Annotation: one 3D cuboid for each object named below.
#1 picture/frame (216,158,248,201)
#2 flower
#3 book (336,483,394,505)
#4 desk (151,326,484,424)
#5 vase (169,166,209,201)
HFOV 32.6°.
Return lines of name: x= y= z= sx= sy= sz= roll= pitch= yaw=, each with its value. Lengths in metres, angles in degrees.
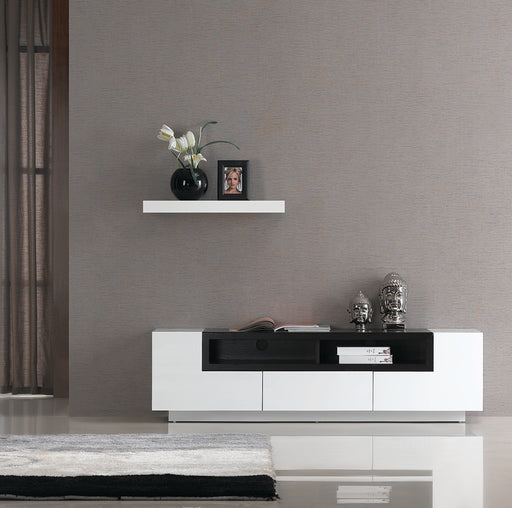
picture/frame: x=-0.131 y=-0.429 z=5.102 sx=0.227 sy=0.310 sz=0.032 roll=0 pitch=0 yaw=-1
flower: x=-0.320 y=-0.622 z=5.148 sx=0.480 sy=0.256 sz=0.416 roll=14 pitch=24 yaw=35
book: x=0.473 y=1.046 z=3.823 sx=0.237 sy=0.015 sz=0.198 roll=1 pitch=7 yaw=5
desk: x=0.340 y=0.680 z=5.002 sx=1.857 sy=0.527 sz=0.291 roll=1 pitch=7 yaw=1
vase: x=-0.390 y=-0.404 z=5.142 sx=0.233 sy=0.206 sz=0.234 roll=8 pitch=10 yaw=36
